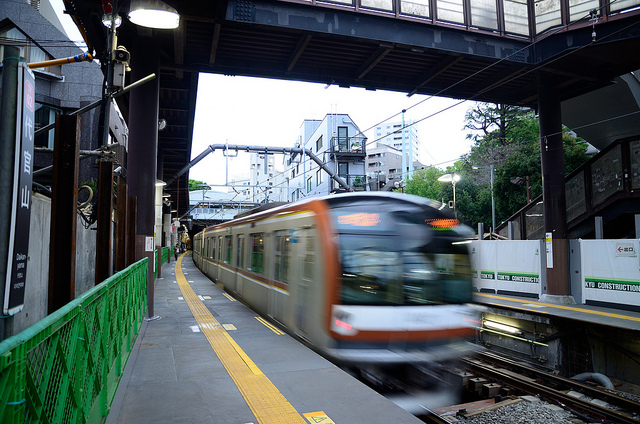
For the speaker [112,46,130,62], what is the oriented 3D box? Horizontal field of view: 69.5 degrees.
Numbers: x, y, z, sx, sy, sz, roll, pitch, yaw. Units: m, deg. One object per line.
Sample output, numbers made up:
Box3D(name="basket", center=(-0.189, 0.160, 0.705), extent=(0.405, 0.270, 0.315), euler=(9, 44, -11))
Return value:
Box3D(name="speaker", center=(-4.407, -3.482, 10.215), extent=(0.347, 0.356, 0.254), euler=(-2, 4, -36))
